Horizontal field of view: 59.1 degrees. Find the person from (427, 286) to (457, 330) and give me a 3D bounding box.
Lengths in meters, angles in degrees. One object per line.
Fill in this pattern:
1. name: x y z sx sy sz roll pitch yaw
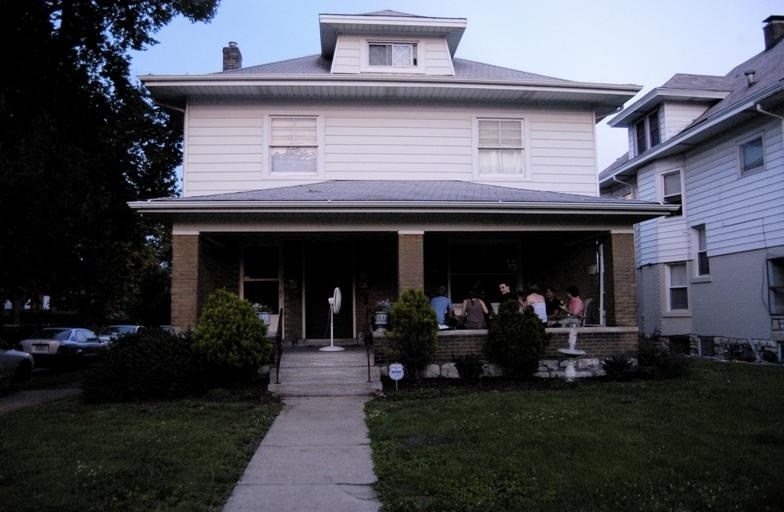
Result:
1. person: 1.489 1.566 20.545 0.700 1.246 1.868 0 11 11
